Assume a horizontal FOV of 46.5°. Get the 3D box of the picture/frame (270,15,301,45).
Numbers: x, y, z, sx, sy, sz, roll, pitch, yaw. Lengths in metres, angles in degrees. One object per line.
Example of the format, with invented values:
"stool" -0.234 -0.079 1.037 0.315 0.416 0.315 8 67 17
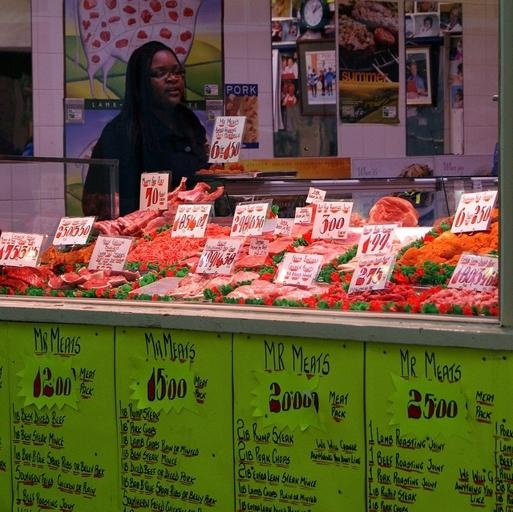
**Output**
"picture/frame" 0.293 -2.258 5.901 0.319 0.274 0.076 -3 6 0
